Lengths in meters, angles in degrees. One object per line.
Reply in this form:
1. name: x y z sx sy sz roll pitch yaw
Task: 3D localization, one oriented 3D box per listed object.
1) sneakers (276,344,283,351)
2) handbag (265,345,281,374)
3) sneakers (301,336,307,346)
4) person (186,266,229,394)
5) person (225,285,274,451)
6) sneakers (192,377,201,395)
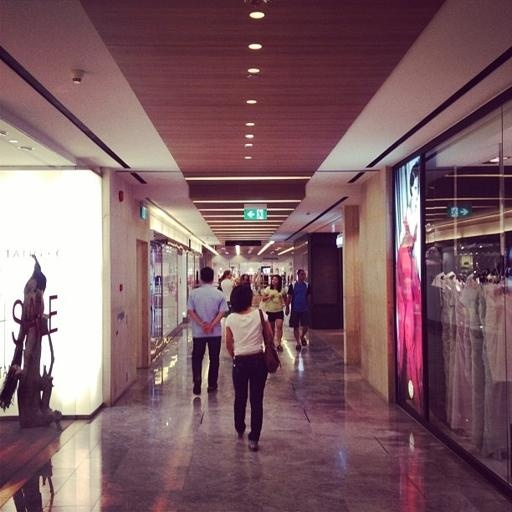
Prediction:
1. sneakers: 0.551 2.164 10.470 0.113 0.212 0.121 -1 -14 2
2. handbag: 0.156 1.044 4.489 0.133 0.328 0.416 0 -3 1
3. sneakers: 1.188 2.104 11.048 0.096 0.322 0.120 0 -35 -4
4. person: -0.748 1.119 6.663 0.550 1.946 0.812 0 -3 -10
5. person: -0.098 1.115 4.500 0.373 1.656 0.636 1 -3 -36
6. sneakers: -0.880 1.922 6.548 0.115 0.245 0.051 10 -16 -34
